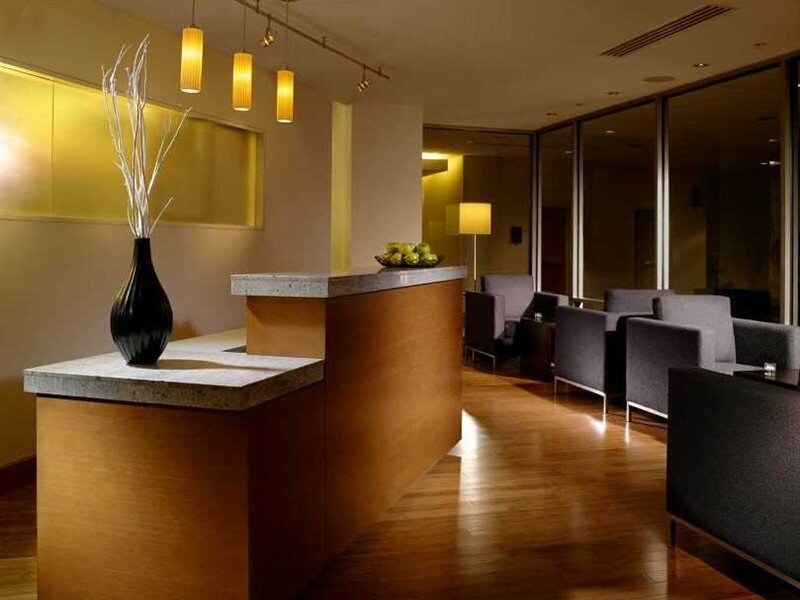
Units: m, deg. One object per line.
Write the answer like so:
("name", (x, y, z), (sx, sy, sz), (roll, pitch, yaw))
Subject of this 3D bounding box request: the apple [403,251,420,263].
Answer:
("apple", (0.081, -0.270, 4.055), (0.118, 0.076, 0.044), (-5, 8, -32))

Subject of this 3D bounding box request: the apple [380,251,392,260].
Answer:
("apple", (-0.099, -0.283, 4.117), (0.047, 0.050, 0.126), (-2, 7, -14))

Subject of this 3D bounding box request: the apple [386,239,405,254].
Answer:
("apple", (-0.029, -0.341, 4.119), (0.078, 0.061, 0.104), (6, 12, 9))

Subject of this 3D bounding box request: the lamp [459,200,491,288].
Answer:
("lamp", (1.124, -0.813, 9.508), (0.447, 1.338, 1.586), (1, 7, 9))

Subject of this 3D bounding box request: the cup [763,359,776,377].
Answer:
("cup", (1.920, 0.358, 3.322), (0.057, 0.069, 0.060), (3, -2, 0))

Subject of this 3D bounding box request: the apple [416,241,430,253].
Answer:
("apple", (0.152, -0.349, 4.235), (0.079, 0.067, 0.246), (0, 7, 2))

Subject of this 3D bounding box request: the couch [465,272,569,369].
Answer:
("couch", (1.367, 0.152, 7.570), (1.140, 0.937, 1.209), (2, 3, 10))

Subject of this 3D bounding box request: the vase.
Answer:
("vase", (-1.057, -0.004, 2.594), (0.233, 0.514, 0.187), (-3, 7, -22))

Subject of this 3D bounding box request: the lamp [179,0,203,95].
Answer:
("lamp", (-1.253, -1.460, 3.833), (0.122, 0.374, 0.247), (-3, 7, -20))

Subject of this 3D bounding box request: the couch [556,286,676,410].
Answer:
("couch", (2.069, 0.353, 5.981), (0.967, 1.119, 1.006), (0, 4, -16))
